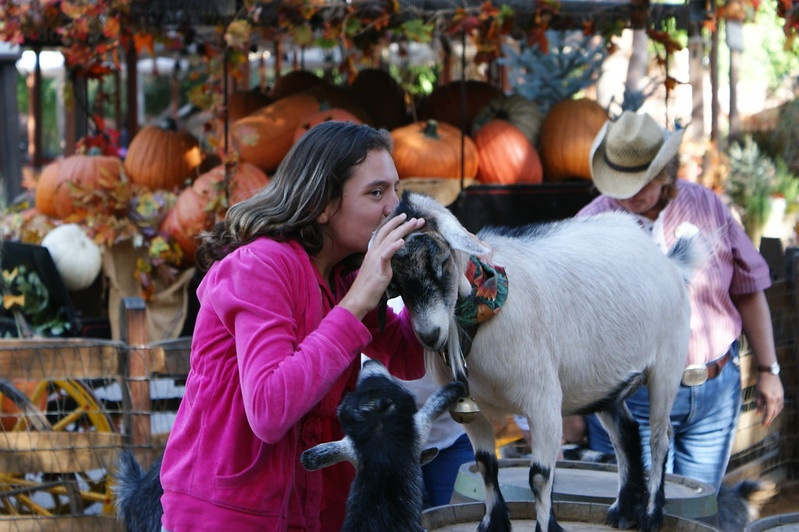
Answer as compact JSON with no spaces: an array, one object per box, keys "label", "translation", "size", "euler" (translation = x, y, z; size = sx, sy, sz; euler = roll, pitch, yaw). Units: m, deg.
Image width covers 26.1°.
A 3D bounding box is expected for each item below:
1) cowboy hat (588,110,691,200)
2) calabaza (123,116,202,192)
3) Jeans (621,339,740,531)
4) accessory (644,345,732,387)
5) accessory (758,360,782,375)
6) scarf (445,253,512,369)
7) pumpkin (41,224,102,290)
[{"label":"cowboy hat","translation":[1.968,-0.980,14.600],"size":[0.986,0.546,0.842],"euler":[-14,18,-35]},{"label":"calabaza","translation":[-2.355,-1.163,17.097],"size":[0.565,0.671,0.652],"euler":[6,6,-6]},{"label":"Jeans","translation":[2.398,1.559,15.051],"size":[0.883,2.369,0.763],"euler":[-1,30,-8]},{"label":"accessory","translation":[2.503,0.833,14.529],"size":[0.382,0.220,0.546],"euler":[-4,14,7]},{"label":"accessory","translation":[3.203,0.897,14.914],"size":[0.108,0.146,0.129],"euler":[-2,-3,24]},{"label":"scarf","translation":[0.617,0.337,13.319],"size":[0.480,0.833,0.234],"euler":[1,5,20]},{"label":"pumpkin","translation":[-3.113,-0.041,16.501],"size":[0.473,0.483,0.524],"euler":[12,16,-18]}]
